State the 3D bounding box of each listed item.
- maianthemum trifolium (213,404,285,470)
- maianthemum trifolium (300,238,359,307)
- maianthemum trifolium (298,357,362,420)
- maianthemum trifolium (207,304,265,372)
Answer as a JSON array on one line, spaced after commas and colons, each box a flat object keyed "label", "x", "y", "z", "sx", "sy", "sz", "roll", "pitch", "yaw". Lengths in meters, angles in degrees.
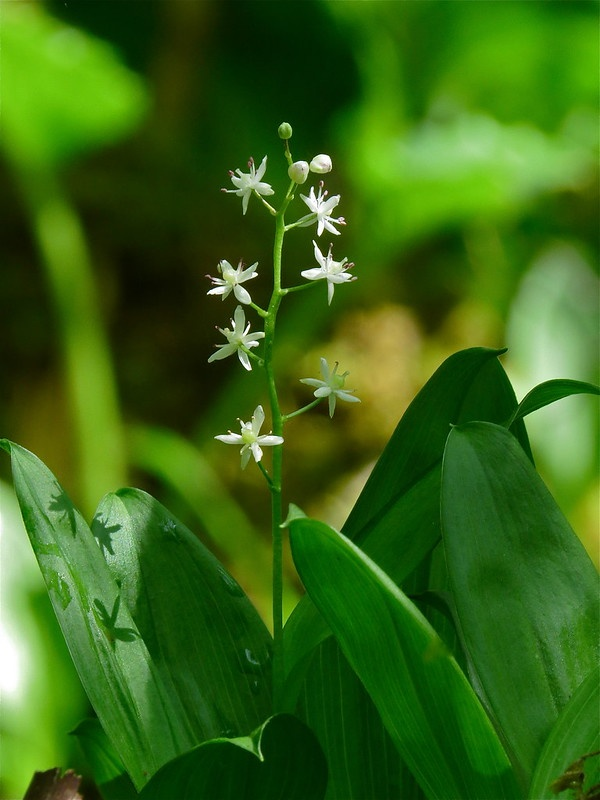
[{"label": "maianthemum trifolium", "x": -0.041, "y": 0.029, "z": 0.696, "sx": 0.040, "sy": 0.042, "sz": 0.021, "roll": -16, "pitch": -44, "yaw": 11}, {"label": "maianthemum trifolium", "x": 0.027, "y": -0.107, "z": 0.714, "sx": 0.037, "sy": 0.040, "sz": 0.019, "roll": -35, "pitch": -35, "yaw": -43}, {"label": "maianthemum trifolium", "x": 0.027, "y": -0.015, "z": 0.714, "sx": 0.034, "sy": 0.031, "sz": 0.039, "roll": 20, "pitch": -11, "yaw": 18}, {"label": "maianthemum trifolium", "x": -0.052, "y": -0.050, "z": 0.704, "sx": 0.042, "sy": 0.051, "sz": 0.023, "roll": -31, "pitch": -67, "yaw": 14}]
